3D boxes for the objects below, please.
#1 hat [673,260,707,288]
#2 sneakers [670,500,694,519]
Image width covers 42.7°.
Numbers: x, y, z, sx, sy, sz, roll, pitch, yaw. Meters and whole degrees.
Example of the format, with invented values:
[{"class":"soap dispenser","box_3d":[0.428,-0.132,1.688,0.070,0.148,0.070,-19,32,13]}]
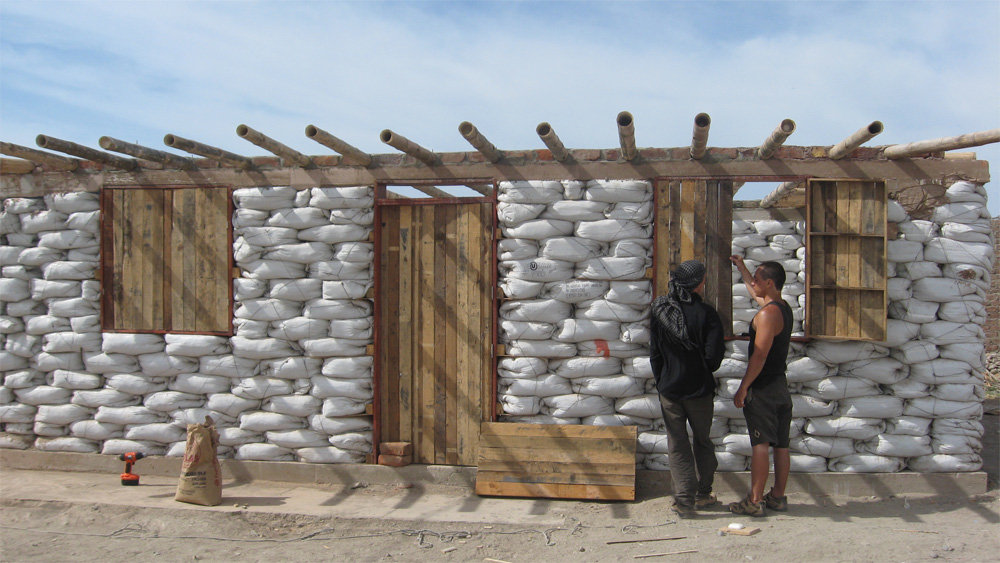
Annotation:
[{"class":"hat","box_3d":[2.258,-0.093,15.441,0.390,0.234,0.388,-1,-2,6]},{"class":"sneakers","box_3d":[2.160,2.725,15.374,0.180,0.099,0.274,6,9,-22]}]
